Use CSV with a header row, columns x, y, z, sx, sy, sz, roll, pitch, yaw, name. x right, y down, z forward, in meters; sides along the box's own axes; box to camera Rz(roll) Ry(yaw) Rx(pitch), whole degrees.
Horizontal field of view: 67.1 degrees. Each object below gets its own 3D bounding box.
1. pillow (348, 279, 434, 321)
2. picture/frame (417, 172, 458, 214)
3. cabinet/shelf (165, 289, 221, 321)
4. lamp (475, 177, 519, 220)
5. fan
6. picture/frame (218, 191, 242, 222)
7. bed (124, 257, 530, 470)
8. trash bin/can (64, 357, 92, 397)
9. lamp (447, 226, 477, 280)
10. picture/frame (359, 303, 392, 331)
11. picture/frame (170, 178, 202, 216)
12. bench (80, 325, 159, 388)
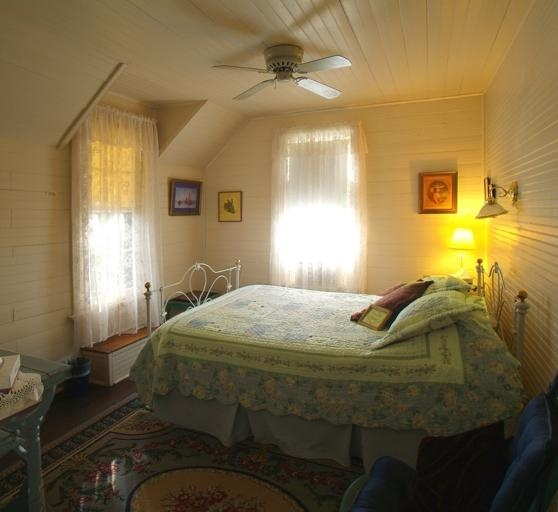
x,y,z,sx,sy,sz,roll,pitch,yaw,name
0.838,0.386,3.276,0.498,0.114,0.544,-25,-16,29,pillow
1.675,-0.673,4.413,0.459,0.520,0.043,3,6,26,picture/frame
-1.035,0.472,4.887,0.401,0.233,0.512,1,5,20,cabinet/shelf
1.554,-0.438,3.031,0.266,0.269,0.209,-7,7,13,lamp
0.107,-1.376,3.077,0.549,0.131,0.590,0,4,32,fan
-0.610,-0.648,5.393,0.401,0.431,0.030,5,11,23,picture/frame
0.369,0.497,2.716,1.867,0.740,1.353,1,6,24,bed
-1.688,1.020,3.513,0.233,0.241,0.238,2,-7,-42,trash bin/can
1.845,-0.009,4.250,0.268,0.569,0.257,4,6,38,lamp
0.679,0.426,2.974,0.159,0.043,0.162,-49,29,-18,picture/frame
-1.136,-0.708,5.162,0.161,0.459,0.576,1,9,12,picture/frame
-1.469,0.935,3.996,0.268,0.311,0.875,0,2,10,bench
